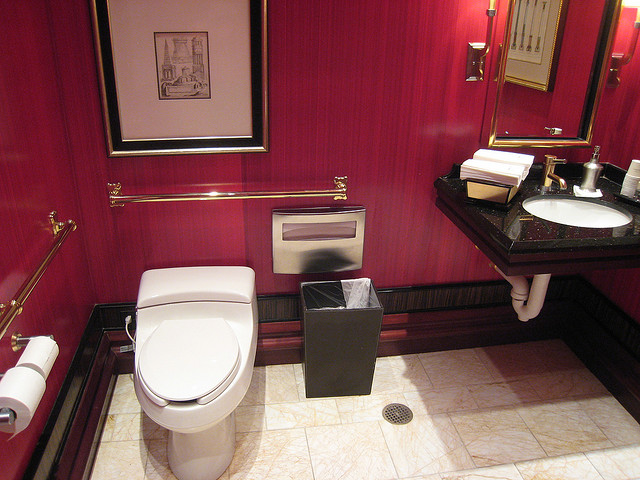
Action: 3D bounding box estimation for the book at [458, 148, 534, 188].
[{"bbox_3d":[0.897,-0.358,2.273,0.280,0.126,0.315,18,33,34],"label":"book"}]

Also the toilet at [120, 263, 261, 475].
[{"bbox_3d":[-0.463,0.649,2.400,0.663,0.938,0.929,-1,38,-4],"label":"toilet"}]

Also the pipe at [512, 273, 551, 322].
[{"bbox_3d":[1.147,0.301,2.432,0.110,0.348,0.149,-11,27,-18],"label":"pipe"}]

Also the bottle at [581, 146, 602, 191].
[{"bbox_3d":[1.442,-0.384,2.369,0.081,0.221,0.121,14,30,30],"label":"bottle"}]
